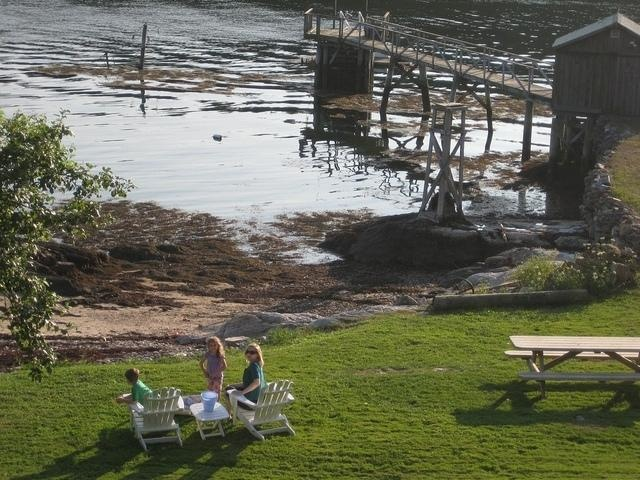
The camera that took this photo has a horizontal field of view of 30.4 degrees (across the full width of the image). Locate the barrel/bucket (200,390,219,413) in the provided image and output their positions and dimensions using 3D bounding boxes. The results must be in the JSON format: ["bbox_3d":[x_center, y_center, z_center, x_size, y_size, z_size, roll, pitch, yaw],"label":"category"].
[{"bbox_3d":[-2.724,3.993,29.157,0.479,0.392,0.460,4,3,0],"label":"barrel/bucket"}]

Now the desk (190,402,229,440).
[{"bbox_3d":[-2.724,4.489,29.017,0.804,0.467,1.001,-1,10,-20],"label":"desk"}]

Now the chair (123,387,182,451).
[{"bbox_3d":[-4.000,4.340,28.861,1.256,1.516,0.594,-2,9,-8],"label":"chair"}]

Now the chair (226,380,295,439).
[{"bbox_3d":[-1.498,4.050,29.494,1.370,1.176,1.601,-4,14,-30],"label":"chair"}]

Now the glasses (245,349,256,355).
[{"bbox_3d":[-1.724,2.746,28.952,0.242,0.148,0.096,2,9,17],"label":"glasses"}]
